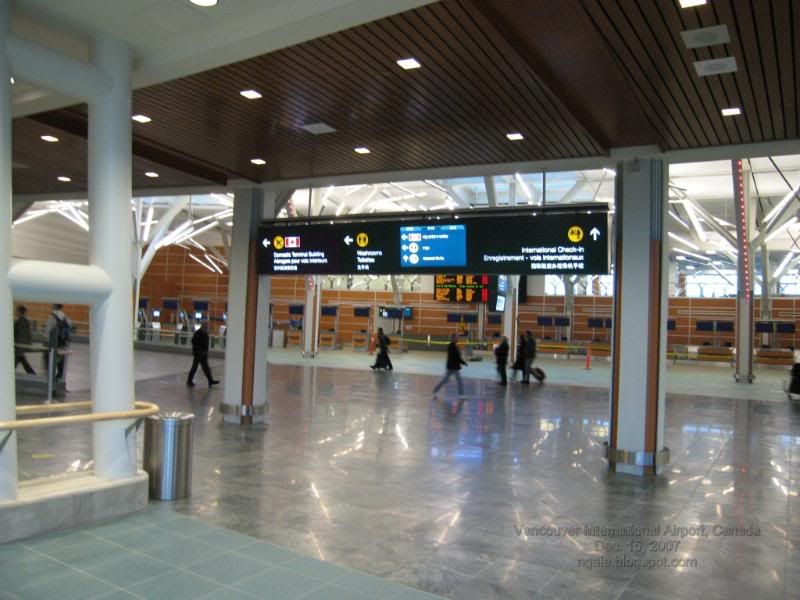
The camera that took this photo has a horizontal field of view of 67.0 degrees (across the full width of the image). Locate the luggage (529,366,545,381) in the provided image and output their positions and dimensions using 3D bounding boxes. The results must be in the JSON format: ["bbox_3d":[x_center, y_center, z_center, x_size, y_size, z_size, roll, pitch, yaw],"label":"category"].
[{"bbox_3d":[5.254,2.868,22.697,0.562,0.203,0.571,45,5,37],"label":"luggage"}]
